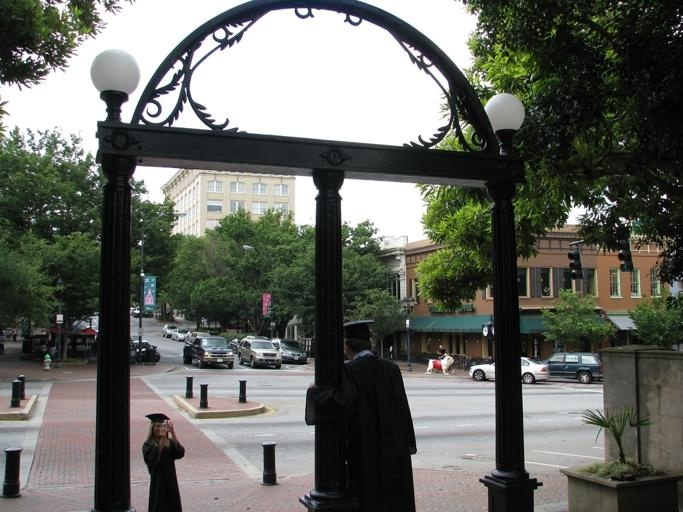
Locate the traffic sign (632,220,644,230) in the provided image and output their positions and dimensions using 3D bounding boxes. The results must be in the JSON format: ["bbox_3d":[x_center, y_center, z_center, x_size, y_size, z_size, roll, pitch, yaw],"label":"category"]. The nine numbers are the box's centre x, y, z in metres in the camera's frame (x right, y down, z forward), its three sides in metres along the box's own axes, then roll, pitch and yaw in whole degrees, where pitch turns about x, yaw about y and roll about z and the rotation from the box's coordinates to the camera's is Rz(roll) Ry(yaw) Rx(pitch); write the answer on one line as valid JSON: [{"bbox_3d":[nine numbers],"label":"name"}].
[{"bbox_3d":[6.795,-0.724,18.478,0.231,0.116,0.232,15,-15,-34],"label":"traffic sign"}]

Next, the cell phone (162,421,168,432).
[{"bbox_3d":[-2.653,2.575,12.055,0.080,0.120,0.030,4,-8,-29],"label":"cell phone"}]

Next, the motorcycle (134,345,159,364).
[{"bbox_3d":[-10.865,5.451,44.030,1.256,0.728,0.892,-1,-3,6],"label":"motorcycle"}]

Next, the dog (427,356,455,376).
[{"bbox_3d":[5.332,5.771,42.235,1.809,1.219,0.672,-6,-9,29],"label":"dog"}]
